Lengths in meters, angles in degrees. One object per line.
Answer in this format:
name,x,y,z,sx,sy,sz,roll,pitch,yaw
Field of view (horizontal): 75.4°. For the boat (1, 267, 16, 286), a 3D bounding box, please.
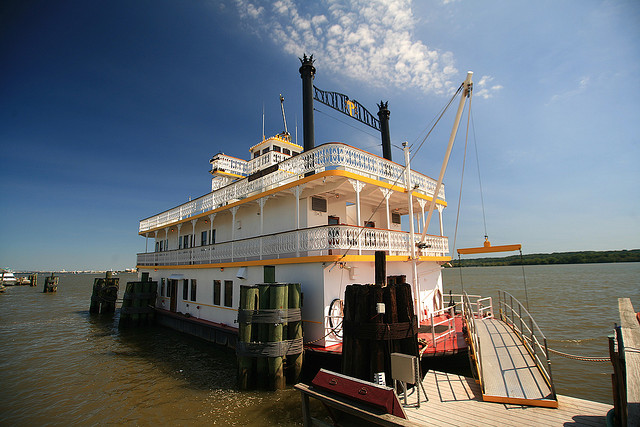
boat,-63.074,13.306,84.029,1.803,3.328,3.861,-12,11,-37
